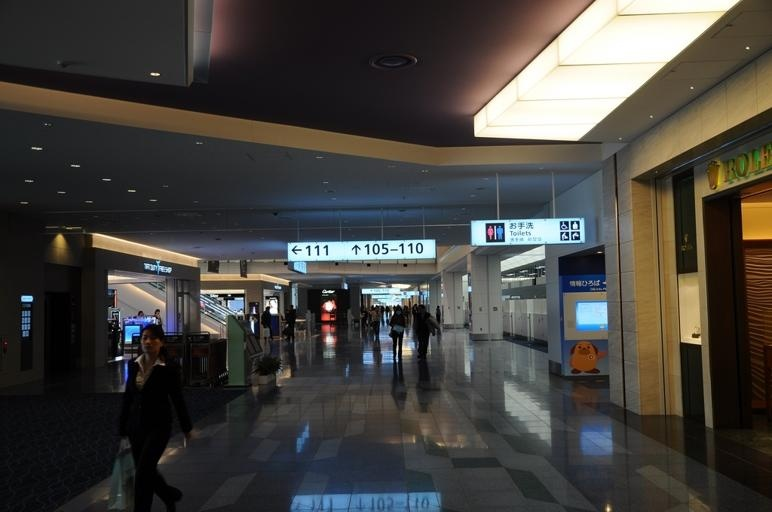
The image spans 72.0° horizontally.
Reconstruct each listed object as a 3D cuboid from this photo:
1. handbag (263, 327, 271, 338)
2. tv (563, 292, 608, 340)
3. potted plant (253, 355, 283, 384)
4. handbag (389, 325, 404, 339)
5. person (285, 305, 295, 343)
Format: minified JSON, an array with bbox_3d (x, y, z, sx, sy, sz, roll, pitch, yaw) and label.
[{"bbox_3d":[-6.080,3.937,27.286,0.341,0.519,0.874,0,-7,-15],"label":"handbag"},{"bbox_3d":[5.251,1.580,14.181,1.535,1.382,0.797,0,-2,-1],"label":"tv"},{"bbox_3d":[-3.296,3.136,14.692,0.629,0.696,0.828,0,-3,5],"label":"potted plant"},{"bbox_3d":[0.383,2.724,19.375,0.432,0.389,0.397,-2,-7,3],"label":"handbag"},{"bbox_3d":[-5.056,3.562,27.989,0.443,1.878,1.569,-1,-7,-11],"label":"person"}]
